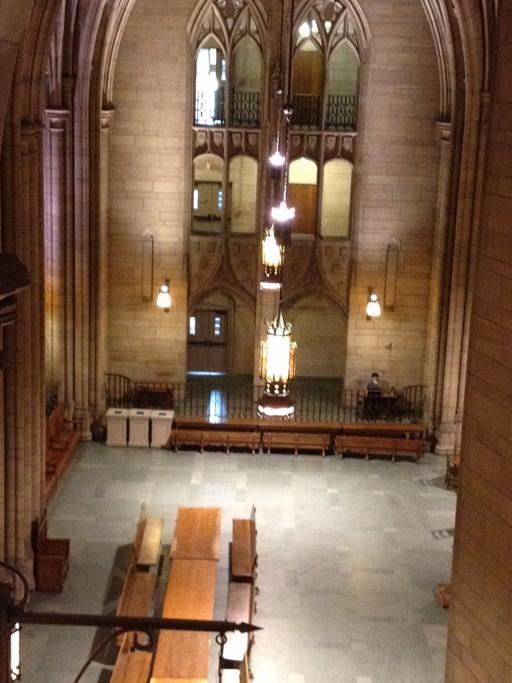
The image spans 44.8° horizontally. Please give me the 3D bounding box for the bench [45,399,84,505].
[{"bbox_3d":[-4.845,2.810,15.612,0.336,0.627,2.313,-2,22,-2],"label":"bench"}]

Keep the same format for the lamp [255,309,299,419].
[{"bbox_3d":[0.291,0.341,8.218,0.464,1.520,0.724,3,8,2],"label":"lamp"}]

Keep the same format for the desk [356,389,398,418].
[{"bbox_3d":[3.740,1.971,19.267,0.863,0.745,0.952,0,7,-5],"label":"desk"}]

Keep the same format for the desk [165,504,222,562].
[{"bbox_3d":[-1.131,3.676,11.746,0.553,0.299,1.147,1,25,0],"label":"desk"}]

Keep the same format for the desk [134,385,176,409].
[{"bbox_3d":[-3.190,1.705,19.433,1.253,0.646,0.845,1,9,-13],"label":"desk"}]

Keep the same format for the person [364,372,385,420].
[{"bbox_3d":[3.632,1.632,19.289,0.702,1.320,0.760,9,5,36],"label":"person"}]

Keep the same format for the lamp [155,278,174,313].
[{"bbox_3d":[-2.814,-1.387,18.965,0.496,1.009,0.792,1,9,-9],"label":"lamp"}]

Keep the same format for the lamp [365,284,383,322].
[{"bbox_3d":[3.589,-1.124,18.941,0.524,1.084,0.843,4,9,12],"label":"lamp"}]
